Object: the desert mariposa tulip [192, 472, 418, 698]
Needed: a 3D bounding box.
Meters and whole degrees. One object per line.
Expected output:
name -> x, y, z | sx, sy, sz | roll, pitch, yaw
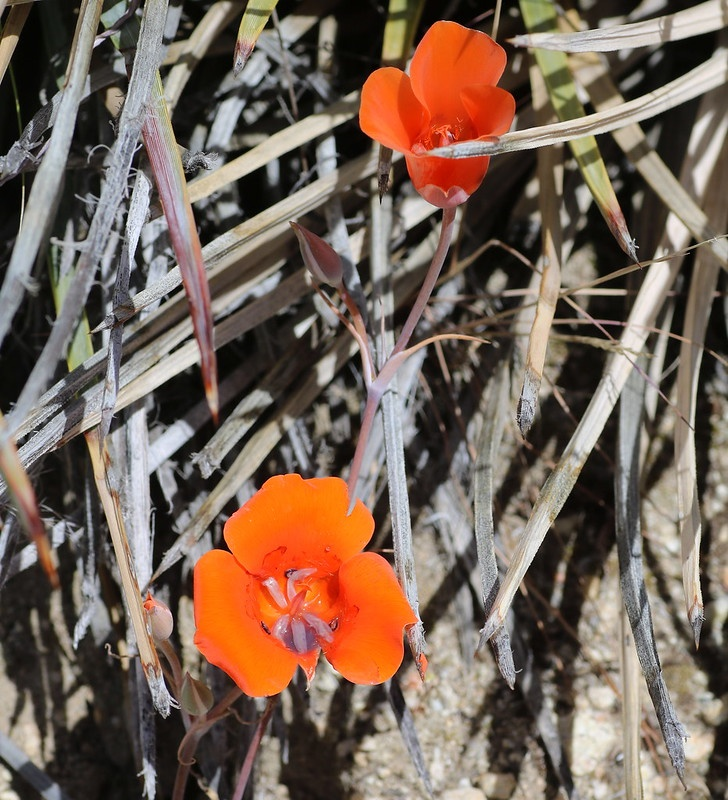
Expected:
desert mariposa tulip -> -0.042, 0.231, 0.973 | 0.217, 0.241, 0.113 | -5, 53, -48
